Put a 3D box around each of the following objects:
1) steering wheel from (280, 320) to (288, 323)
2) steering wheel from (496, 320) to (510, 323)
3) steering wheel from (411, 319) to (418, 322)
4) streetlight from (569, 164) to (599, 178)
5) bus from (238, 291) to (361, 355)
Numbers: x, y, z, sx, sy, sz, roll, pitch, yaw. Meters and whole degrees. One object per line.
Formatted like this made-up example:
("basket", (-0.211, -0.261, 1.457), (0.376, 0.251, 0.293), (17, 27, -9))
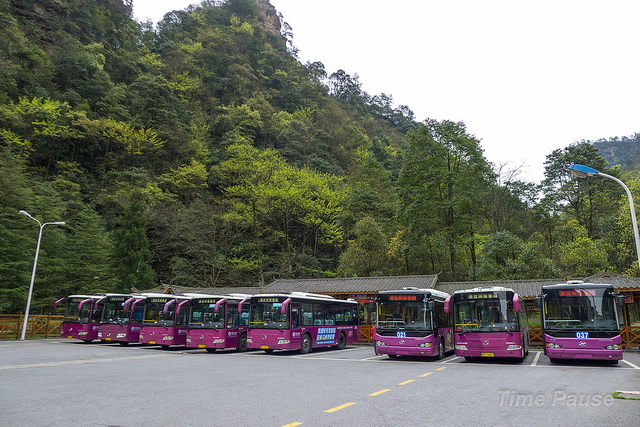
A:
("steering wheel", (-2.365, 7.122, 28.964), (0.452, 0.157, 0.050), (0, -2, 2))
("steering wheel", (10.374, 6.204, 25.265), (0.690, 0.135, 0.128), (-2, -4, 21))
("steering wheel", (5.536, 6.417, 26.249), (0.325, 0.158, 0.042), (0, -2, 6))
("streetlight", (13.841, -2.253, 23.422), (1.117, 0.380, 0.862), (9, -2, 28))
("bus", (-0.655, 7.975, 32.473), (3.313, 4.467, 10.234), (-2, -5, 39))
